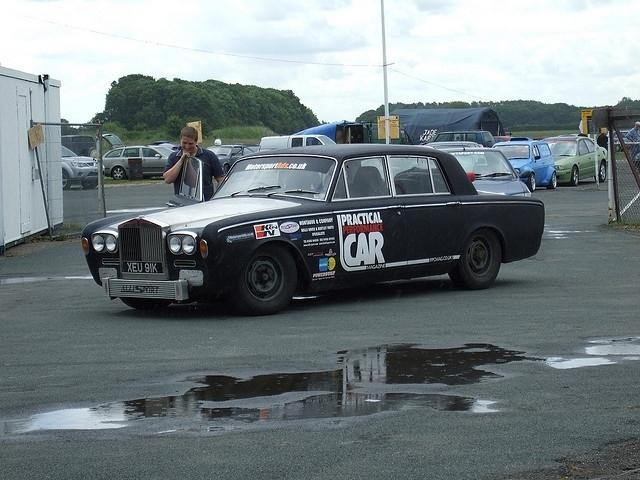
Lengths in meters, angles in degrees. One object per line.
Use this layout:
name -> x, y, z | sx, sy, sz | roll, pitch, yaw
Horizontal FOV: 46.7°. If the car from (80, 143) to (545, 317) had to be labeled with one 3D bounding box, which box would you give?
car -> 0.317, -0.128, 8.959 | 4.939, 1.351, 2.152 | -2, 0, -40
